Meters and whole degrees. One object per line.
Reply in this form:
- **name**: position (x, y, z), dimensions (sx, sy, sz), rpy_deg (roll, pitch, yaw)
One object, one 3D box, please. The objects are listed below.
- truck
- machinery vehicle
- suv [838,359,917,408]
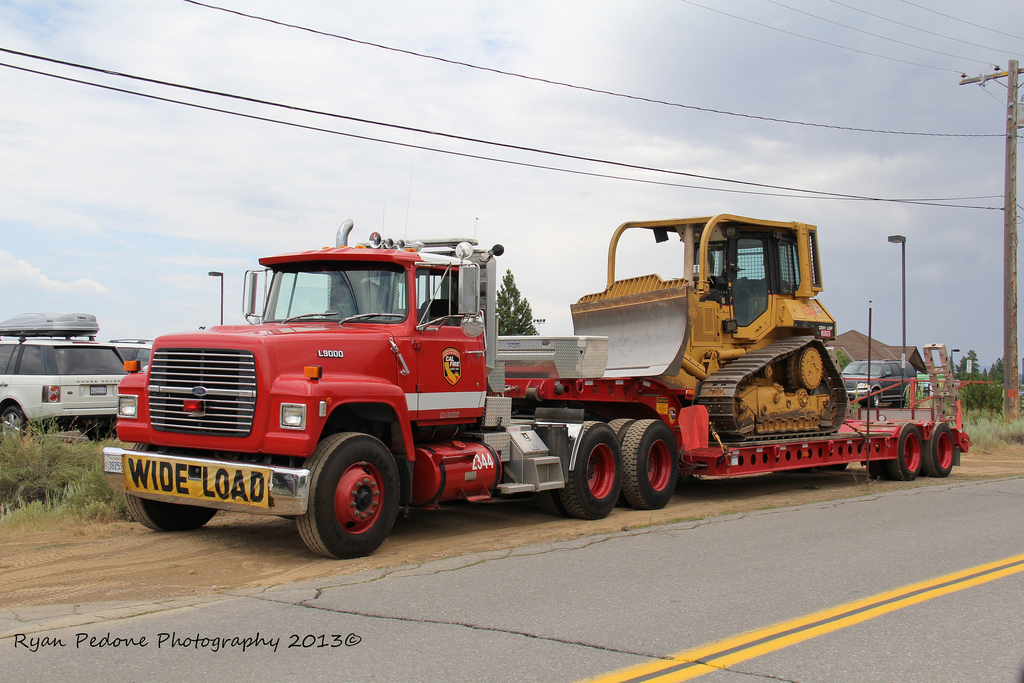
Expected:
- **truck**: position (1.057, 0.122, 13.295), dimensions (13.138, 5.273, 3.046), rpy_deg (2, -2, -42)
- **machinery vehicle**: position (3.688, -0.088, 16.889), dimensions (5.680, 4.674, 3.890), rpy_deg (5, -7, -44)
- **suv**: position (14.830, 1.698, 32.260), dimensions (1.970, 1.742, 4.081), rpy_deg (-6, -8, 42)
